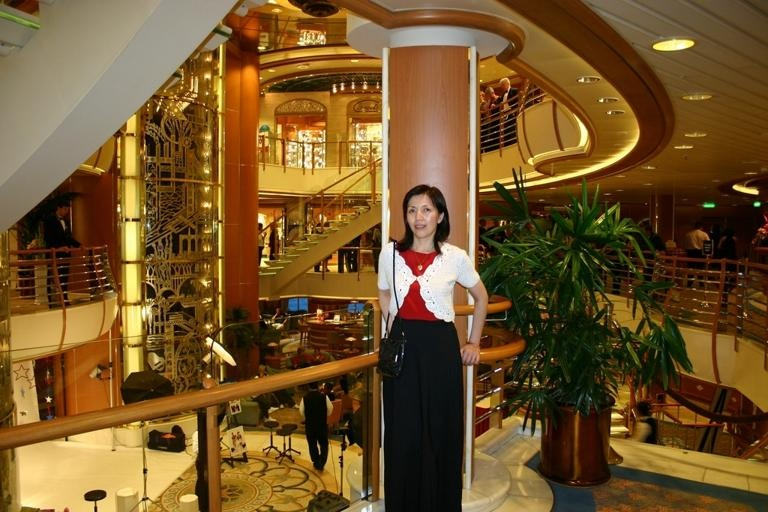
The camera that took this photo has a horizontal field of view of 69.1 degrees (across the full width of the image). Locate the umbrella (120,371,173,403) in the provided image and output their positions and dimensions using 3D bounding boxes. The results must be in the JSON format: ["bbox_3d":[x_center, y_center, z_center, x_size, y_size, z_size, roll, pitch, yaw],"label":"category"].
[{"bbox_3d":[-2.090,1.136,4.986,0.461,0.320,0.408,-1,2,-31],"label":"umbrella"}]

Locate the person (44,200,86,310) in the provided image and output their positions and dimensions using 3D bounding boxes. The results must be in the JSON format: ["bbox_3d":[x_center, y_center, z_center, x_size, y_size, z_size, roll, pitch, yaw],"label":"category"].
[{"bbox_3d":[-4.853,-0.032,8.535,0.492,1.654,0.518,1,7,14],"label":"person"}]

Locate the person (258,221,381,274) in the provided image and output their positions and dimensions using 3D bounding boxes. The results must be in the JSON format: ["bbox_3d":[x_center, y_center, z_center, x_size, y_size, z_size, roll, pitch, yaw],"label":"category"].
[{"bbox_3d":[-2.146,-0.211,14.721,2.323,1.425,0.698,0,1,-1],"label":"person"}]

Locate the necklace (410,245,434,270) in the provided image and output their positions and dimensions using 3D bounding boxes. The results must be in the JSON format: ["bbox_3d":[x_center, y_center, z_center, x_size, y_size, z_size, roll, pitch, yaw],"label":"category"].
[{"bbox_3d":[0.193,0.023,2.851,0.126,0.110,0.034,0,1,2],"label":"necklace"}]

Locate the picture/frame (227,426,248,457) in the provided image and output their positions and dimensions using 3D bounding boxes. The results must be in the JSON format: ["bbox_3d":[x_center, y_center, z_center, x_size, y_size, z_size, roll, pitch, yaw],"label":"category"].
[{"bbox_3d":[-0.714,0.916,2.717,0.030,0.164,0.125,0,1,26],"label":"picture/frame"}]

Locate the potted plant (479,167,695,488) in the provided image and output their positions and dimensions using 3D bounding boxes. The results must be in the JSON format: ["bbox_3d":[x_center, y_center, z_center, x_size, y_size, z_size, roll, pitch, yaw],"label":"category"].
[{"bbox_3d":[1.321,0.512,3.837,1.192,2.054,1.002,0,1,28],"label":"potted plant"}]

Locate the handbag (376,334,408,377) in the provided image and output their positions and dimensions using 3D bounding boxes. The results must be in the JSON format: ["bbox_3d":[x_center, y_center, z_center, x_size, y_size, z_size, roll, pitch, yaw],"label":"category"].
[{"bbox_3d":[0.035,0.505,2.803,0.133,0.182,0.074,0,1,1],"label":"handbag"}]
